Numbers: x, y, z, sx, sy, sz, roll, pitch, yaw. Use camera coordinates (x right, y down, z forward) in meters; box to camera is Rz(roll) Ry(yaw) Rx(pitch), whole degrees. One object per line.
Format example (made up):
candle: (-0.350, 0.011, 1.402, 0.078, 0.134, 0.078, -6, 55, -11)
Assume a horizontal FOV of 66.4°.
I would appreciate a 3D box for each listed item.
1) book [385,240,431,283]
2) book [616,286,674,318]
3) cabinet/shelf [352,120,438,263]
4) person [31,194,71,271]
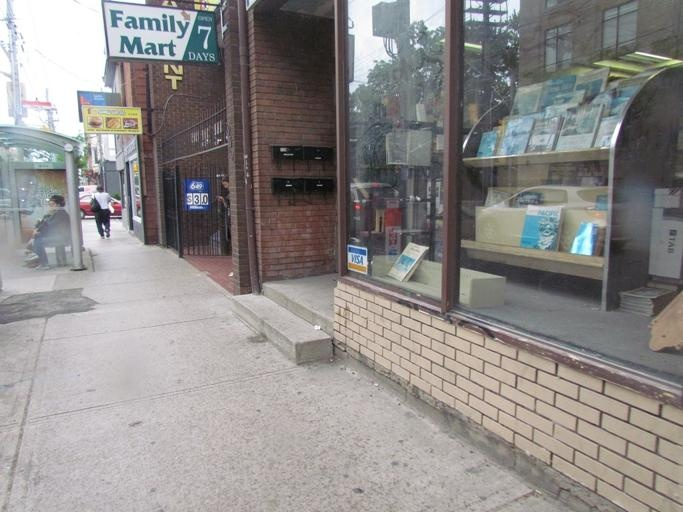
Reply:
book: (0.590, 0.062, 4.625, 0.076, 0.329, 0.310, 34, -8, -31)
book: (1.888, 0.280, 3.222, 0.207, 0.073, 0.159, -13, 15, -31)
cabinet/shelf: (0.451, -0.577, 4.686, 0.294, 1.215, 1.283, -7, 14, -21)
person: (-6.198, -0.536, 11.161, 0.763, 1.373, 0.915, -9, 15, -27)
